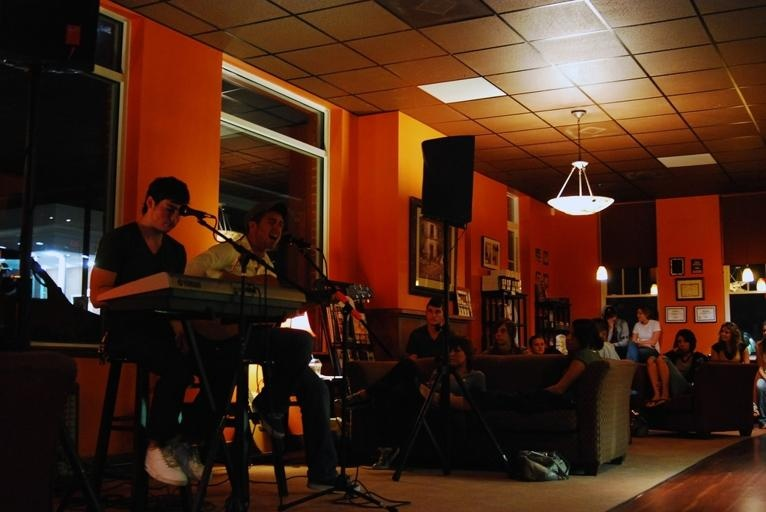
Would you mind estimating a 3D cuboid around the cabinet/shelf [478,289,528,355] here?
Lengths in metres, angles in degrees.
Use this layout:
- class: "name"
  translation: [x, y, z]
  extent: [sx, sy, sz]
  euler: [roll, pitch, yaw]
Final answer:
- class: "cabinet/shelf"
  translation: [1.693, 0.920, 9.806]
  extent: [0.319, 0.860, 0.938]
  euler: [-6, -10, 33]

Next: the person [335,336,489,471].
- class: "person"
  translation: [0.324, 1.072, 6.046]
  extent: [1.463, 0.764, 0.577]
  euler: [16, -6, -35]

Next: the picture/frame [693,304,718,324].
- class: "picture/frame"
  translation: [5.673, 1.012, 11.933]
  extent: [0.330, 0.320, 0.033]
  euler: [3, -7, 17]

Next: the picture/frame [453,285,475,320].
- class: "picture/frame"
  translation: [1.148, 0.659, 9.760]
  extent: [0.071, 0.447, 0.549]
  euler: [-15, -6, 25]

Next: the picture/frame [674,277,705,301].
- class: "picture/frame"
  translation: [5.466, 0.572, 12.089]
  extent: [0.419, 0.423, 0.043]
  euler: [1, -3, 29]

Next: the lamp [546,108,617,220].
- class: "lamp"
  translation: [2.598, -1.234, 8.987]
  extent: [0.830, 1.363, 0.778]
  euler: [-17, 19, -31]

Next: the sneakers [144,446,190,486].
- class: "sneakers"
  translation: [-1.221, 1.187, 3.774]
  extent: [0.240, 0.112, 0.171]
  euler: [35, -1, 2]

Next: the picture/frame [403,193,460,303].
- class: "picture/frame"
  translation: [0.525, -0.101, 8.005]
  extent: [0.092, 1.347, 1.362]
  euler: [-1, -6, 32]

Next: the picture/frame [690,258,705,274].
- class: "picture/frame"
  translation: [5.579, 0.170, 12.053]
  extent: [0.270, 0.368, 0.038]
  euler: [-2, -11, 28]

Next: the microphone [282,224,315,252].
- class: "microphone"
  translation: [-0.801, -0.194, 6.641]
  extent: [0.163, 0.146, 0.488]
  euler: [17, 8, -46]

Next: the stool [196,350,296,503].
- class: "stool"
  translation: [-0.851, 1.056, 4.109]
  extent: [0.495, 0.993, 1.003]
  euler: [1, -6, -6]

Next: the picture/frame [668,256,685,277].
- class: "picture/frame"
  translation: [5.271, 0.180, 12.187]
  extent: [0.347, 0.477, 0.070]
  euler: [3, 0, 40]

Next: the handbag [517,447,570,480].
- class: "handbag"
  translation: [1.235, 1.607, 5.308]
  extent: [0.295, 0.107, 0.218]
  euler: [-1, -3, 5]

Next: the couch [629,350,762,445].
- class: "couch"
  translation: [3.821, 1.758, 8.218]
  extent: [1.091, 0.846, 1.137]
  euler: [-10, -19, 44]

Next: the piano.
- class: "piano"
  translation: [-0.948, 0.231, 3.777]
  extent: [1.083, 0.227, 0.444]
  euler: [3, -7, -30]

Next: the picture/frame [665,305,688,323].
- class: "picture/frame"
  translation: [5.248, 1.034, 12.142]
  extent: [0.321, 0.308, 0.032]
  euler: [1, -13, 37]

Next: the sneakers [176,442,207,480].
- class: "sneakers"
  translation: [-1.074, 1.136, 3.812]
  extent: [0.077, 0.223, 0.169]
  euler: [-27, -5, 19]

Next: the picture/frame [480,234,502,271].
- class: "picture/frame"
  translation: [1.689, -0.056, 10.729]
  extent: [0.053, 0.383, 0.554]
  euler: [-4, -8, 29]

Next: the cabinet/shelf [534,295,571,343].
- class: "cabinet/shelf"
  translation: [2.879, 1.078, 11.656]
  extent: [0.326, 0.854, 0.828]
  euler: [-6, -9, 36]
